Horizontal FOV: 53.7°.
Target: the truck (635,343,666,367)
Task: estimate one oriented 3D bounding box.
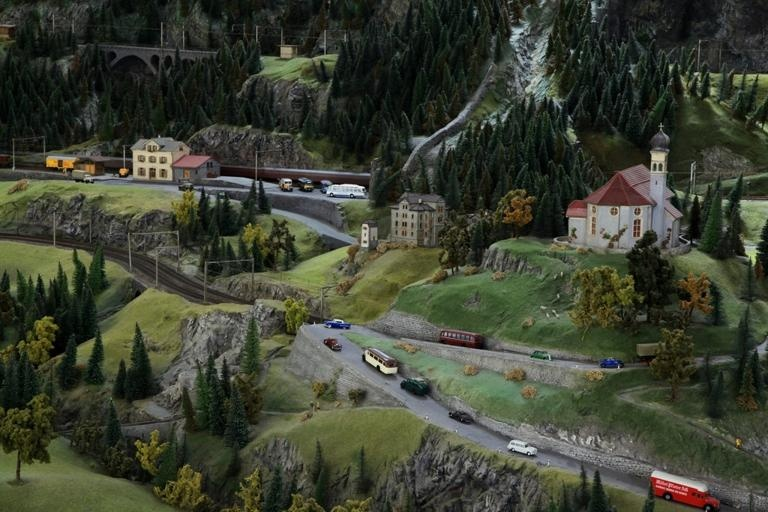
[{"bbox_3d":[37.865,13.820,108.350,2.576,2.158,4.056,-2,11,5],"label":"truck"}]

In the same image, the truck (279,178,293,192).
[{"bbox_3d":[-28.098,-20.597,219.415,2.851,2.643,4.388,-2,11,-13],"label":"truck"}]

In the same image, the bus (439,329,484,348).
[{"bbox_3d":[12.651,13.439,124.194,7.080,2.825,2.743,9,17,32],"label":"bus"}]

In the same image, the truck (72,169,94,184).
[{"bbox_3d":[-93.357,-24.694,236.659,6.293,3.955,3.978,6,11,24],"label":"truck"}]

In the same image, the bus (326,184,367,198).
[{"bbox_3d":[-10.568,-17.257,209.612,11.164,4.779,4.389,2,13,16],"label":"bus"}]

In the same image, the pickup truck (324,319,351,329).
[{"bbox_3d":[-8.151,12.633,138.939,3.273,1.277,2.199,5,3,-1],"label":"pickup truck"}]

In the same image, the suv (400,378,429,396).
[{"bbox_3d":[5.048,20.095,117.086,3.384,1.934,2.328,17,15,31],"label":"suv"}]

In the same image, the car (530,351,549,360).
[{"bbox_3d":[23.722,14.998,114.191,1.770,1.059,1.112,3,8,26],"label":"car"}]

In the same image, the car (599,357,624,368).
[{"bbox_3d":[32.857,15.477,109.093,2.339,1.264,1.565,-5,6,19],"label":"car"}]

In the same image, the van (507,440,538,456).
[{"bbox_3d":[19.037,26.120,103.504,3.139,1.596,1.959,6,19,24],"label":"van"}]

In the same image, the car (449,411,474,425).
[{"bbox_3d":[11.449,23.612,110.467,2.538,0.875,1.742,19,6,-10],"label":"car"}]

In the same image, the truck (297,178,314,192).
[{"bbox_3d":[-22.397,-20.987,220.791,2.211,3.261,8.781,-4,19,-19],"label":"truck"}]

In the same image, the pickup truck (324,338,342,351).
[{"bbox_3d":[-8.547,15.009,128.775,2.748,1.515,1.543,22,17,33],"label":"pickup truck"}]
